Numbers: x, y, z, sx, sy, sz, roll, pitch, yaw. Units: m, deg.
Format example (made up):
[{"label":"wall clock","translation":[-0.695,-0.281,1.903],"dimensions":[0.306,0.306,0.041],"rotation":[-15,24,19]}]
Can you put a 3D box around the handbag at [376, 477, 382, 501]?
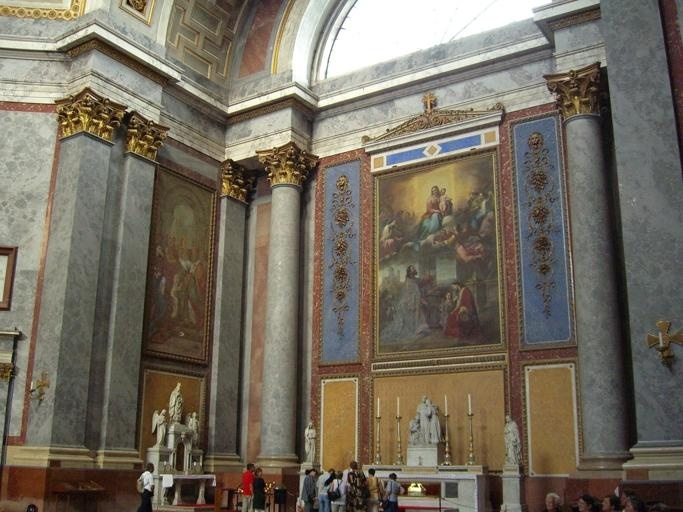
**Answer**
[{"label":"handbag","translation":[0.657,4.003,12.529],"dimensions":[0.066,0.275,0.191],"rotation":[1,-6,-4]}]

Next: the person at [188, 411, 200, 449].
[{"label":"person","translation":[-3.209,3.767,15.942],"dimensions":[0.207,0.808,0.494],"rotation":[0,-19,-3]}]

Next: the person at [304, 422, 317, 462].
[{"label":"person","translation":[-0.664,4.004,15.778],"dimensions":[0.276,0.927,0.579],"rotation":[0,-19,-3]}]

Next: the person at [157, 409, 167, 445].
[{"label":"person","translation":[-3.717,3.580,15.278],"dimensions":[0.118,0.751,0.249],"rotation":[-18,-25,41]}]

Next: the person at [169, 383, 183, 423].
[{"label":"person","translation":[-3.514,3.156,15.782],"dimensions":[0.200,0.882,0.431],"rotation":[-8,-20,22]}]

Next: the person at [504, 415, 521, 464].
[{"label":"person","translation":[3.165,3.412,13.586],"dimensions":[0.293,0.895,0.449],"rotation":[-5,-19,11]}]

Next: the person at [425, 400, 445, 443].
[{"label":"person","translation":[1.792,3.205,14.146],"dimensions":[0.253,0.860,0.156],"rotation":[-2,-18,4]}]
